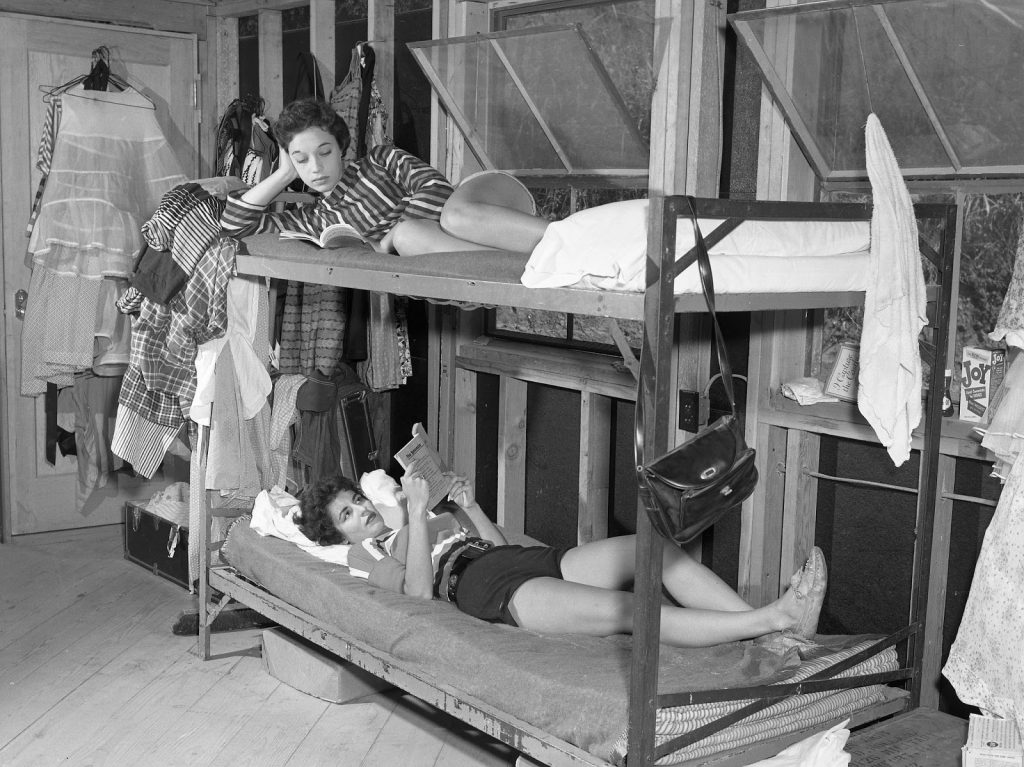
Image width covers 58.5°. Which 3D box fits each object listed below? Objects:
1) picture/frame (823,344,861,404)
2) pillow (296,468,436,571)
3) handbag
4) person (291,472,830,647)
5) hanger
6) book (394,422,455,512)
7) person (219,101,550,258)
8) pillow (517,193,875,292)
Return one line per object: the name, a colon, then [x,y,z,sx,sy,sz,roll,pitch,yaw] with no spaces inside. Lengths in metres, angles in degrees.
picture/frame: [1.131,-0.030,3.143,0.021,0.197,0.143,-8,25,-33]
pillow: [-0.567,0.547,3.591,0.386,0.434,0.194,-5,-30,21]
handbag: [0.422,0.221,2.099,0.293,0.281,0.131,-7,13,-36]
person: [0.122,0.573,3.194,1.766,0.698,0.637,-4,-13,17]
hanger: [-2.130,-1.560,4.688,0.405,0.250,0.169,-2,23,-16]
book: [-0.319,0.308,3.389,0.086,0.290,0.283,-6,45,19]
person: [-0.443,-0.762,3.419,0.797,0.354,0.302,14,7,27]
pillow: [0.550,-0.355,2.413,1.019,0.240,0.399,-6,13,-28]
